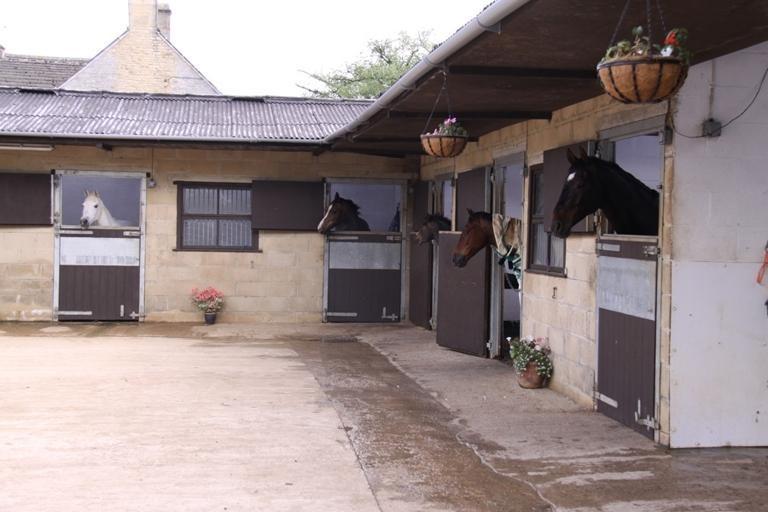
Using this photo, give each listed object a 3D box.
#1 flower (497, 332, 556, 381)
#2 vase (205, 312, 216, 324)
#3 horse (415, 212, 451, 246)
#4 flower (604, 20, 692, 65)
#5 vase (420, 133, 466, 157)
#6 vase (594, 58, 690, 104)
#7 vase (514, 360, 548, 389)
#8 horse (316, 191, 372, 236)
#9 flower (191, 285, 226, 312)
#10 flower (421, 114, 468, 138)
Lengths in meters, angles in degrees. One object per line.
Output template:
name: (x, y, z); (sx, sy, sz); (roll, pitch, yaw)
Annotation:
flower: (1.875, 1.278, 10.584); (0.626, 0.606, 0.602); (7, -1, -8)
vase: (-2.846, 1.011, 14.315); (0.193, 0.149, 0.187); (1, 3, -12)
horse: (0.766, -0.404, 13.492); (0.545, 0.460, 0.455); (3, 11, 12)
flower: (2.228, -1.764, 7.447); (0.689, 0.311, 0.509); (-2, 4, 0)
vase: (0.713, -1.247, 9.936); (0.338, 0.136, 0.336); (-1, -4, 41)
vase: (2.266, -1.497, 7.631); (0.882, 0.355, 0.859); (-2, 6, 4)
vase: (1.743, 1.386, 10.405); (0.336, 0.235, 0.325); (2, 1, 12)
horse: (-0.698, -0.697, 14.786); (0.479, 0.707, 1.200); (10, 14, 38)
flower: (-2.898, 0.723, 14.369); (0.449, 0.365, 0.439); (7, -6, -22)
flower: (0.700, -1.451, 9.914); (0.410, 0.202, 0.275); (5, 12, 22)
